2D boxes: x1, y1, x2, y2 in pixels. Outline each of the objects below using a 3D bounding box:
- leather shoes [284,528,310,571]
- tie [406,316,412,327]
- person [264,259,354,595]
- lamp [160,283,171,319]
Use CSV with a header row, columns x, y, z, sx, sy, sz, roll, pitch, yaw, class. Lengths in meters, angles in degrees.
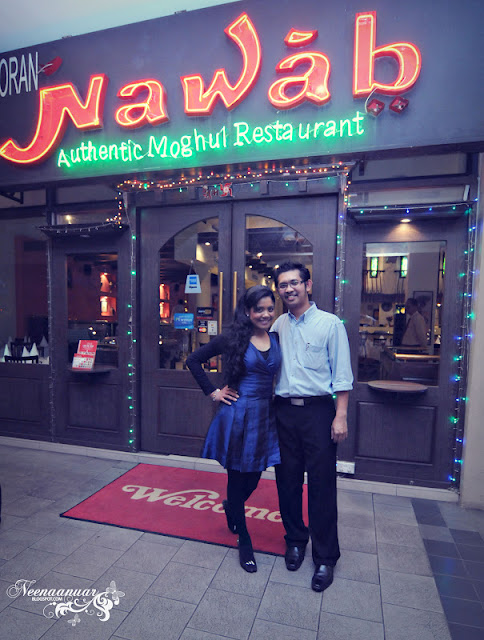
x,y,z,sx,sy,sz,roll,pitch,yaw,class
0.305,1.325,2.777,0.073,0.102,0.240,-1,-4,11,leather shoes
1.291,0.019,3.832,0.020,0.057,0.055,13,38,30,tie
0.382,0.541,2.773,0.355,1.703,0.560,-3,7,-30,person
-0.674,-0.158,4.288,0.123,0.315,0.043,2,7,13,lamp
